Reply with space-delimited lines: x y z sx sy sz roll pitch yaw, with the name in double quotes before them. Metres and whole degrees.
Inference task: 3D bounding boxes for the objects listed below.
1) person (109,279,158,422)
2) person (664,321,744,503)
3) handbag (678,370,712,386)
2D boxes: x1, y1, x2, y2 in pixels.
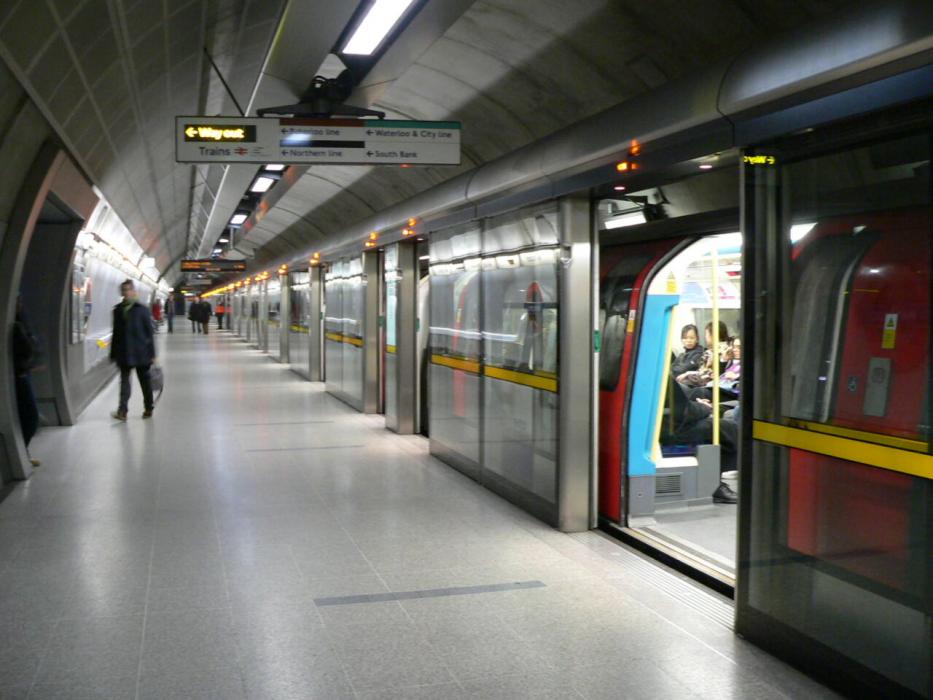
"person" -5.941 -0.001 10.670 0.679 2.461 0.768 0 3 -30
"person" 2.729 0.676 7.114 0.834 2.000 1.524 2 -6 4
"handbag" 2.848 0.341 7.490 0.375 0.130 0.272 0 1 -26
